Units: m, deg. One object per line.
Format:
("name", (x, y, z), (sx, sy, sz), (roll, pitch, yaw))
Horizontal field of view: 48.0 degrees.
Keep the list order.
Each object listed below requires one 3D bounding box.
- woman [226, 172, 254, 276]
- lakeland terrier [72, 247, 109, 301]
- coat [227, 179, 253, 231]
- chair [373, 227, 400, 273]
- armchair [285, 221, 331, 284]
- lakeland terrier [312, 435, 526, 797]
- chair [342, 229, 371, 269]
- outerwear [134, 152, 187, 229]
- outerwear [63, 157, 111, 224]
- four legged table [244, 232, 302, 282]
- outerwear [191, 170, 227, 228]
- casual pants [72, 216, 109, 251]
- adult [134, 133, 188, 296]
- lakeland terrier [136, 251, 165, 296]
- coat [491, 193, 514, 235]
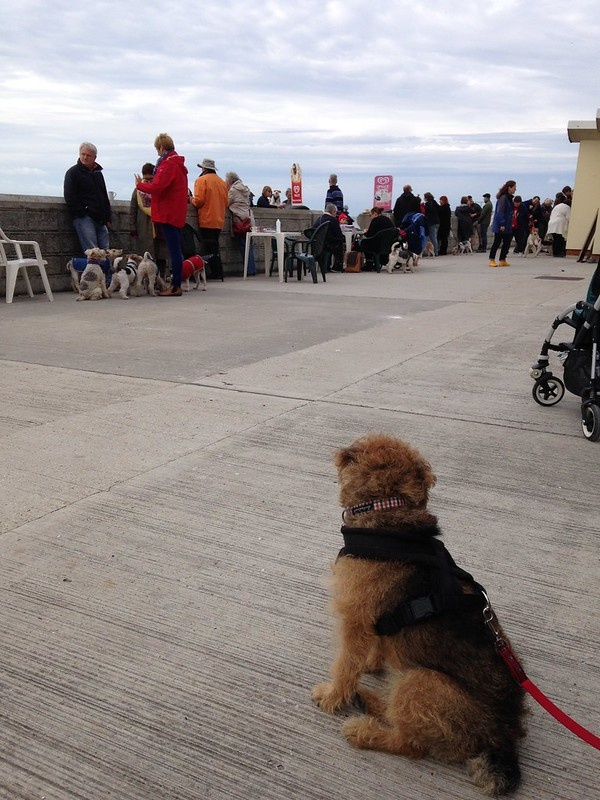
("woman", (-1.421, -4.002, 15.198), (0.832, 2.286, 0.717), (-5, 7, -3))
("lakeland terrier", (-3.348, -2.027, 10.811), (0.485, 0.802, 0.533), (-3, 17, -16))
("coat", (-1.303, -4.358, 14.845), (0.562, 1.036, 0.722), (0, 16, -6))
("chair", (2.241, -3.958, 17.655), (0.569, 1.106, 1.289), (3, 16, 6))
("armchair", (0.009, -3.258, 14.903), (1.024, 1.205, 0.935), (2, 11, 17))
("lakeland terrier", (0.285, 0.560, 1.752), (0.349, 0.803, 0.662), (-5, 17, -22))
("chair", (1.466, -3.962, 17.836), (0.629, 1.033, 1.862), (3, 15, 4))
("outerwear", (-2.246, -3.435, 10.990), (0.790, 1.217, 0.467), (-2, 17, -12))
("outerwear", (-3.599, -3.503, 11.385), (0.761, 1.052, 0.386), (-8, 19, -28))
("four legged table", (-0.846, -3.286, 15.209), (1.121, 0.830, 1.079), (7, 13, 11))
("outerwear", (-1.840, -4.039, 13.650), (0.766, 1.115, 0.506), (-4, 18, -20))
("casual pants", (-3.615, -2.879, 11.543), (0.317, 0.781, 0.589), (6, 31, 14))
("adult", (-2.360, -3.095, 11.404), (0.983, 2.589, 1.075), (6, 10, 21))
("lakeland terrier", (-2.441, -2.134, 11.574), (0.341, 0.580, 0.876), (-1, 35, -7))
("coat", (4.976, -4.553, 16.477), (0.410, 0.920, 0.631), (5, 17, 12))
